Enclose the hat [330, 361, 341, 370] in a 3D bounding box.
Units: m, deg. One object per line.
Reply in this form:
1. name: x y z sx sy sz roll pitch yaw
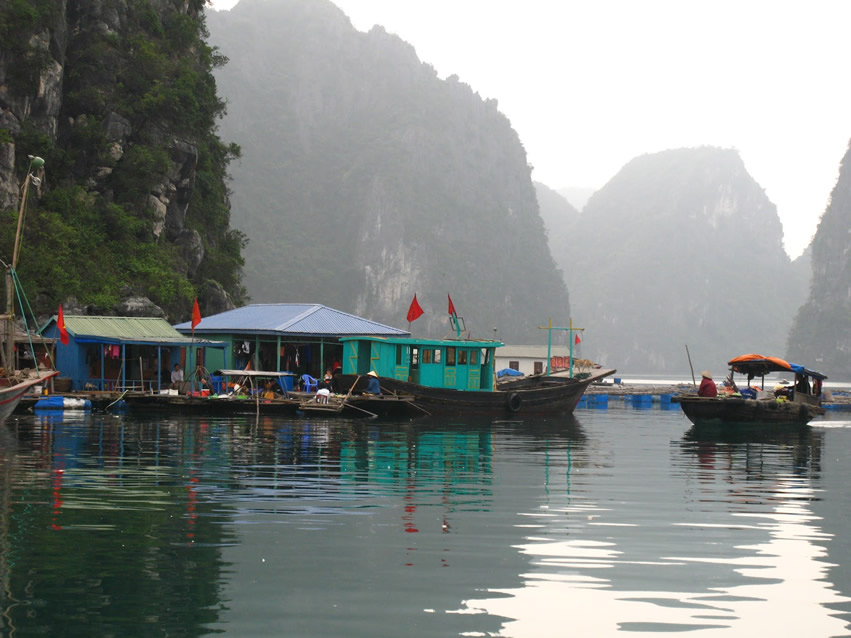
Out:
1. hat: -5.520 2.911 83.356 0.543 0.682 0.670 1 -25 2
